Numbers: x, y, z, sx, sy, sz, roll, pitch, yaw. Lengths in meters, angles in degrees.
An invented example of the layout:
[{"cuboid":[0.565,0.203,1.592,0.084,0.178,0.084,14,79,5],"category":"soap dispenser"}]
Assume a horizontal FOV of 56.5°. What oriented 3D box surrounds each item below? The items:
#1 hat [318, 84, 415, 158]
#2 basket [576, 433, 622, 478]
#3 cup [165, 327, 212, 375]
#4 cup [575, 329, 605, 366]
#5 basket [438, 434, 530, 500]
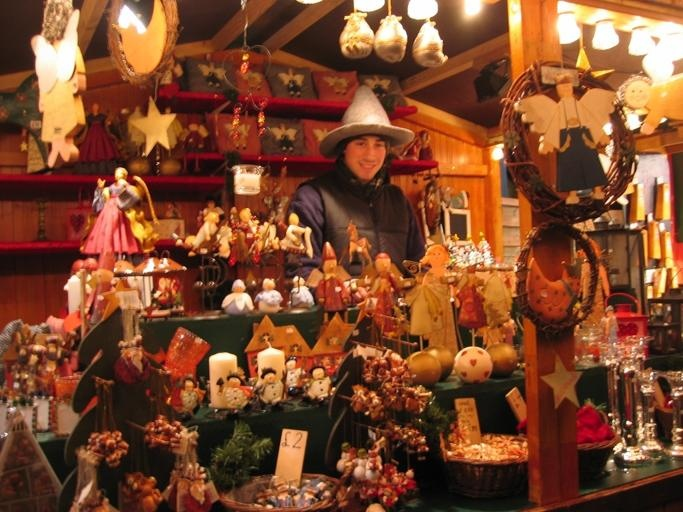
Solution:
[{"cuboid":[0.129,-0.734,3.694,0.440,0.316,0.427,0,-15,-4],"category":"hat"},{"cuboid":[0.941,0.737,2.346,0.144,0.107,0.150,-6,-12,9],"category":"basket"},{"cuboid":[-0.528,0.332,2.179,0.101,0.166,0.150,-5,-13,27],"category":"cup"},{"cuboid":[1.057,0.387,2.716,0.105,0.161,0.141,-3,-12,21],"category":"cup"},{"cuboid":[0.523,0.757,2.304,0.293,0.201,0.279,-2,-12,14],"category":"basket"}]
